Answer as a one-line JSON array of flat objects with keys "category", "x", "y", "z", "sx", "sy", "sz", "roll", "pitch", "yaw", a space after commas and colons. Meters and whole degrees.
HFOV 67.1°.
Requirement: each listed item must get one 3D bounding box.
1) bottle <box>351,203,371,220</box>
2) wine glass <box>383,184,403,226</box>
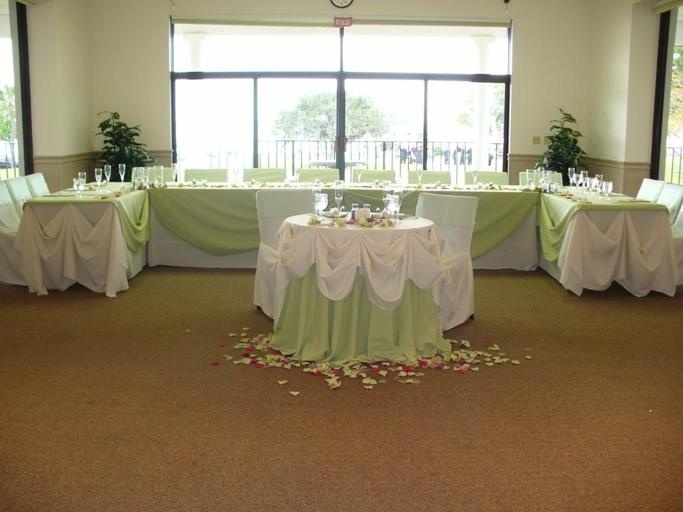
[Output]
[{"category": "bottle", "x": 0.148, "y": -0.328, "z": 3.904, "sx": 0.140, "sy": 0.134, "sz": 0.156, "roll": -2, "pitch": 9, "yaw": -14}, {"category": "wine glass", "x": 0.388, "y": -0.391, "z": 3.973, "sx": 0.128, "sy": 0.241, "sz": 0.465, "roll": 1, "pitch": 13, "yaw": 5}]
